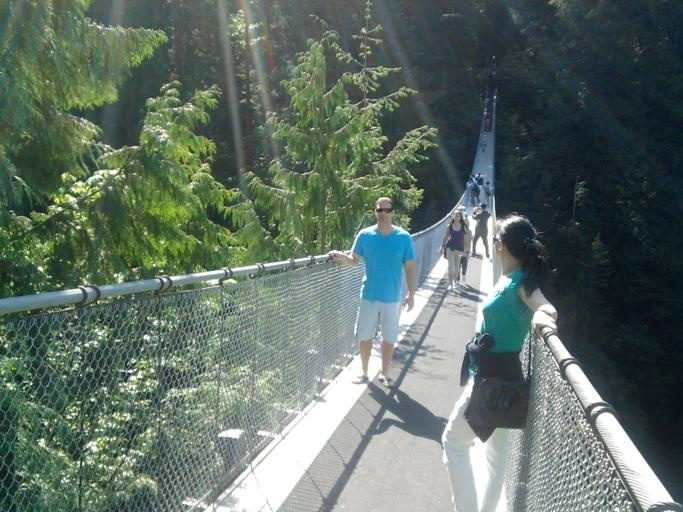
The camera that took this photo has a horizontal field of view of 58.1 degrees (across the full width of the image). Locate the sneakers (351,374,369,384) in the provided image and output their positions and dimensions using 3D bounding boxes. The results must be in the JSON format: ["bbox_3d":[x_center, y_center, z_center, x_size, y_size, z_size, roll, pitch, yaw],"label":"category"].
[{"bbox_3d":[0.195,1.201,6.107,0.177,0.147,0.066,4,17,2],"label":"sneakers"}]

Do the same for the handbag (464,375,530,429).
[{"bbox_3d":[0.985,0.903,3.728,0.391,0.317,0.398,-11,-30,33],"label":"handbag"}]

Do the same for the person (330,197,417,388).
[{"bbox_3d":[0.355,0.357,6.122,0.738,1.909,0.684,6,16,6],"label":"person"}]
